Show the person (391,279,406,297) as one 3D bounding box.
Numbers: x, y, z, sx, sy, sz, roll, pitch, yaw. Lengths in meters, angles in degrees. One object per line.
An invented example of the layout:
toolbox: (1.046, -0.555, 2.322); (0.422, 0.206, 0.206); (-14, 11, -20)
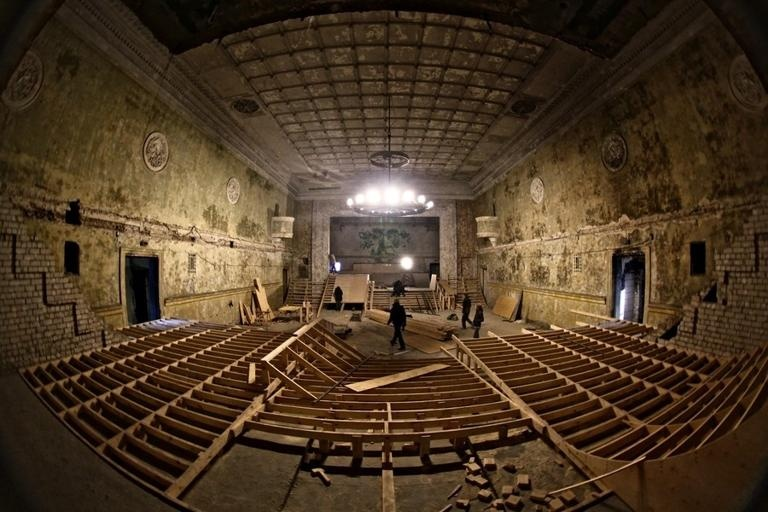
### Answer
person: (0.878, 1.361, 19.023); (0.628, 0.670, 0.873); (2, -4, 2)

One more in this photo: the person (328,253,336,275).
person: (-2.511, 0.343, 21.908); (0.337, 0.836, 0.700); (2, -3, -7)

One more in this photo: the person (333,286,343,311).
person: (-1.844, 1.755, 18.524); (0.383, 0.975, 0.829); (2, -3, -6)
